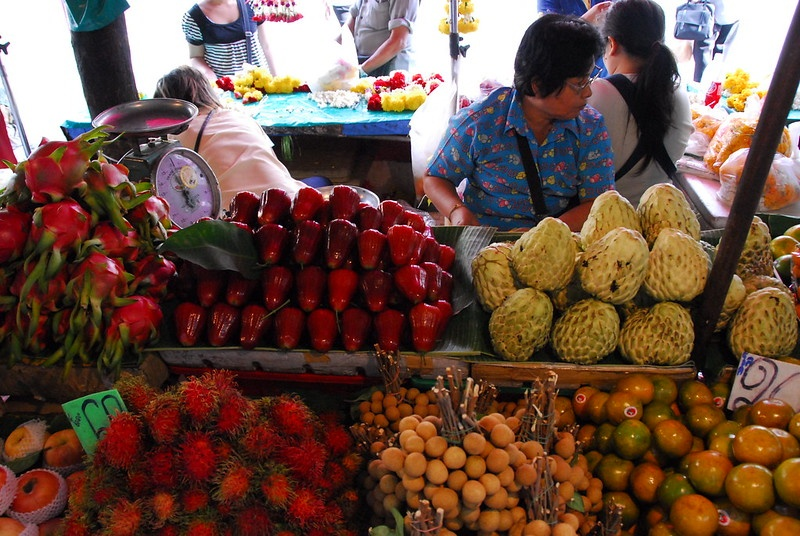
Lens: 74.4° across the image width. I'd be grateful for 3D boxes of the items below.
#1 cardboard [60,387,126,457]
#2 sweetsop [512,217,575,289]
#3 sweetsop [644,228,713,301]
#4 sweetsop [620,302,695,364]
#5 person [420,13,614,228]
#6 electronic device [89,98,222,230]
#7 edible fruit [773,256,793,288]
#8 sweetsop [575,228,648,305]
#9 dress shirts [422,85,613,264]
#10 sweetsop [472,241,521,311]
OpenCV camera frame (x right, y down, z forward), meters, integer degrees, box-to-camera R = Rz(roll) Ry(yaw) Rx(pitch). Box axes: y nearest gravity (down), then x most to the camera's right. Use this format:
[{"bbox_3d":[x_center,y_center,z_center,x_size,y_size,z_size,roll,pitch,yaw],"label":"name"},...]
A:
[{"bbox_3d":[-1.005,0.515,1.732,0.225,0.234,0.019,-23,28,-4],"label":"cardboard"},{"bbox_3d":[0.565,-0.080,2.202,0.277,0.308,0.266,14,11,12],"label":"sweetsop"},{"bbox_3d":[1.082,0.001,2.057,0.213,0.243,0.169,17,35,28],"label":"sweetsop"},{"bbox_3d":[1.051,0.272,2.130,0.265,0.274,0.311,-3,-4,11],"label":"sweetsop"},{"bbox_3d":[0.726,-0.811,3.077,1.150,1.121,0.811,3,34,7],"label":"person"},{"bbox_3d":[-1.119,-0.464,2.486,0.402,0.451,0.414,-3,32,-6],"label":"electronic device"},{"bbox_3d":[1.728,0.022,2.375,0.075,0.101,0.079,-39,22,23],"label":"edible fruit"},{"bbox_3d":[0.814,0.000,2.132,0.306,0.248,0.233,-28,-6,17],"label":"sweetsop"},{"bbox_3d":[0.685,-0.476,3.539,1.525,1.080,0.778,2,40,5],"label":"dress shirts"},{"bbox_3d":[0.392,0.046,2.204,0.203,0.256,0.216,-13,63,34],"label":"sweetsop"}]
